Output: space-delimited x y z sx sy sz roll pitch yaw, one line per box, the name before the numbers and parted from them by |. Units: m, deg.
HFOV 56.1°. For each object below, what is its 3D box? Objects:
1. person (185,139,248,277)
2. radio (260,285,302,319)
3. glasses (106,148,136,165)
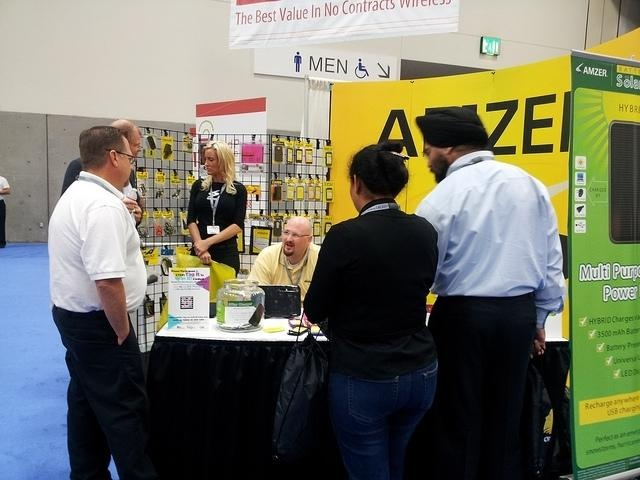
person | -0.937 -0.283 5.447 0.510 1.192 0.422 -2 4 -24
radio | -0.273 0.439 4.260 0.336 0.268 0.196 0 -5 -3
glasses | -1.273 -0.535 3.805 0.176 0.056 0.192 2 1 7
